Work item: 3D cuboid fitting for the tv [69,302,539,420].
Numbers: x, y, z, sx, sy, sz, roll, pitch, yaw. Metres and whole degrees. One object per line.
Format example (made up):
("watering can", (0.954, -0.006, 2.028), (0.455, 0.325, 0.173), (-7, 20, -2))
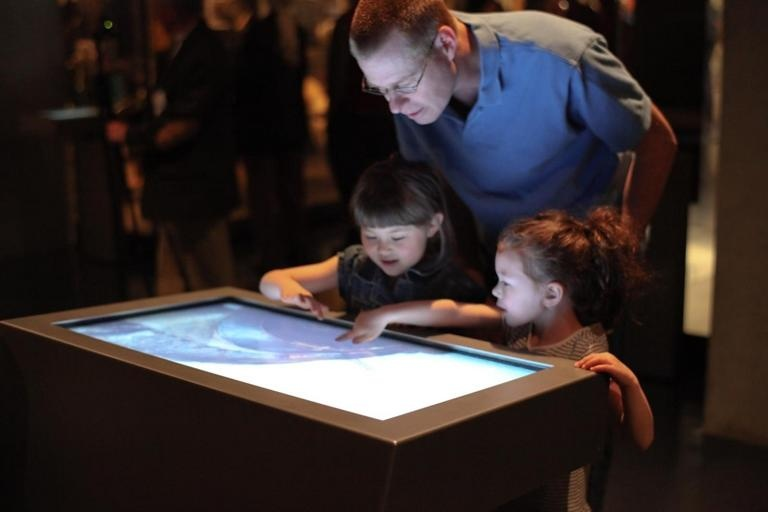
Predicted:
("tv", (-0.229, 0.240, 1.844), (1.175, 0.080, 0.436), (11, 26, 31))
